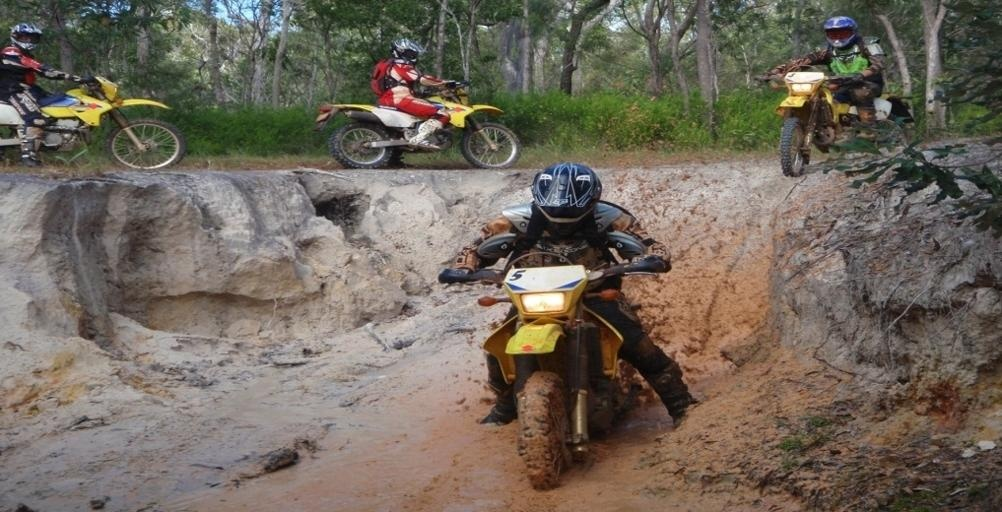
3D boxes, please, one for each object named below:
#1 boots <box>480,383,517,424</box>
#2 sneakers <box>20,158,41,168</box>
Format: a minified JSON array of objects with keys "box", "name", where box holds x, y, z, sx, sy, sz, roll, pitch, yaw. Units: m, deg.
[{"box":[-0.029,2.649,17.279,0.847,0.708,0.371,-5,-19,34],"name":"boots"},{"box":[-10.470,-2.087,22.142,0.229,0.123,0.291,6,4,18],"name":"sneakers"}]
